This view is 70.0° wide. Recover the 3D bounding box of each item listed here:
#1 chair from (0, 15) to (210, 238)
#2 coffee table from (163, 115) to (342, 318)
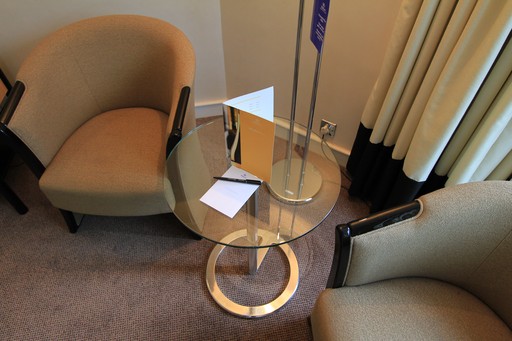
[{"bbox_3d":[-0.882,-0.272,2.315,1.010,0.919,1.011,4,52,4],"label":"chair"},{"bbox_3d":[0.000,0.189,2.249,1.004,1.033,1.091,8,57,4],"label":"coffee table"}]
